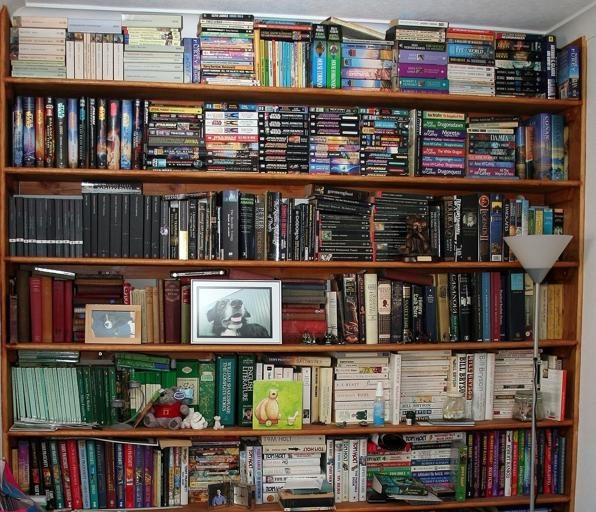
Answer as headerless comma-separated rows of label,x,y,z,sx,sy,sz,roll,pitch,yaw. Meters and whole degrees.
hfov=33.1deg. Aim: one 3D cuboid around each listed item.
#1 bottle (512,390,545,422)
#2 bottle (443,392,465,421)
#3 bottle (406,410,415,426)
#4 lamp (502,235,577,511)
bottle,1.298,0.855,5.741,0.166,0.160,0.155,6,-9,-42
bottle,0.877,0.850,5.715,0.125,0.136,0.132,0,-8,-2
bottle,0.627,0.912,5.624,0.066,0.105,0.060,2,-9,-16
lamp,1.340,0.660,5.576,0.347,1.157,0.491,-2,1,10
